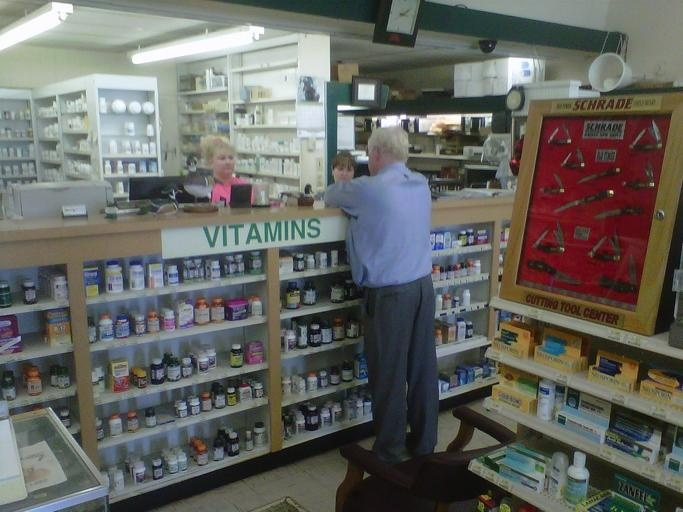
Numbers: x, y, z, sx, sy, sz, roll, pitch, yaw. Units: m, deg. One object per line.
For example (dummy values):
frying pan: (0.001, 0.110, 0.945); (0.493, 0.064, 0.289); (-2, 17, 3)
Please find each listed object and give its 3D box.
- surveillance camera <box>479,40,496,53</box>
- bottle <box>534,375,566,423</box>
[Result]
surveillance camera: (1.748, -2.510, 6.633); (0.119, 0.089, 0.157); (0, 8, 0)
bottle: (0.980, 0.676, 2.585); (0.125, 0.182, 0.090); (2, 15, 23)
